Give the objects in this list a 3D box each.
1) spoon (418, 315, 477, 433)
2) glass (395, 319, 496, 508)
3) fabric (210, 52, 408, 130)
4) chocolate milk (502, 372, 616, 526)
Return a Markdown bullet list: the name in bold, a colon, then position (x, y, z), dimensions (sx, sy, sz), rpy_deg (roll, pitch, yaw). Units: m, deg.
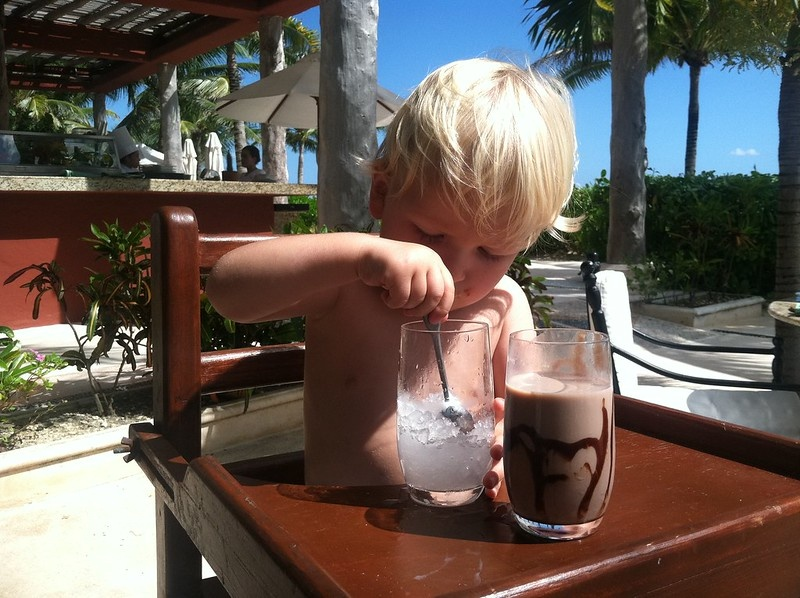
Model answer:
- **spoon**: position (0.060, 0.103, 0.893), dimensions (0.039, 0.183, 0.025), rpy_deg (-14, 0, 6)
- **glass**: position (0.067, 0.159, 0.919), dimensions (0.139, 0.264, 0.143), rpy_deg (2, 5, 10)
- **fabric**: position (-1.092, -2.370, 6.560), dimensions (1.807, 0.604, 1.732), rpy_deg (-6, 29, -9)
- **chocolate milk**: position (0.193, 0.171, 0.767), dimensions (0.150, 0.232, 0.159), rpy_deg (0, -3, 4)
